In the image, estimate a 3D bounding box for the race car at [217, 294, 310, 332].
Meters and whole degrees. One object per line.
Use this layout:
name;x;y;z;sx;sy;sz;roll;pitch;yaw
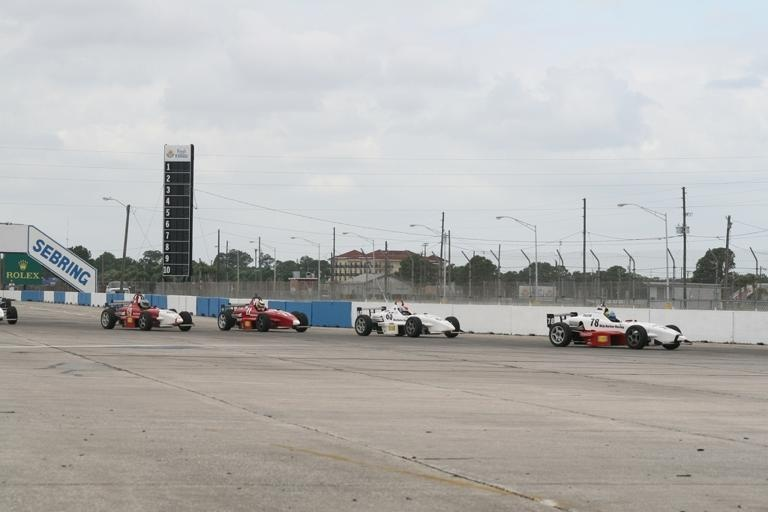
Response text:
race car;-4.866;2.213;47.149;3.636;1.416;1.615;-2;-7;34

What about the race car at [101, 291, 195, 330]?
race car;-9.488;2.125;46.952;4.346;1.320;1.811;1;-2;-40

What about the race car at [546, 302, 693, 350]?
race car;7.558;2.281;39.623;4.869;1.454;1.900;-2;-7;32
